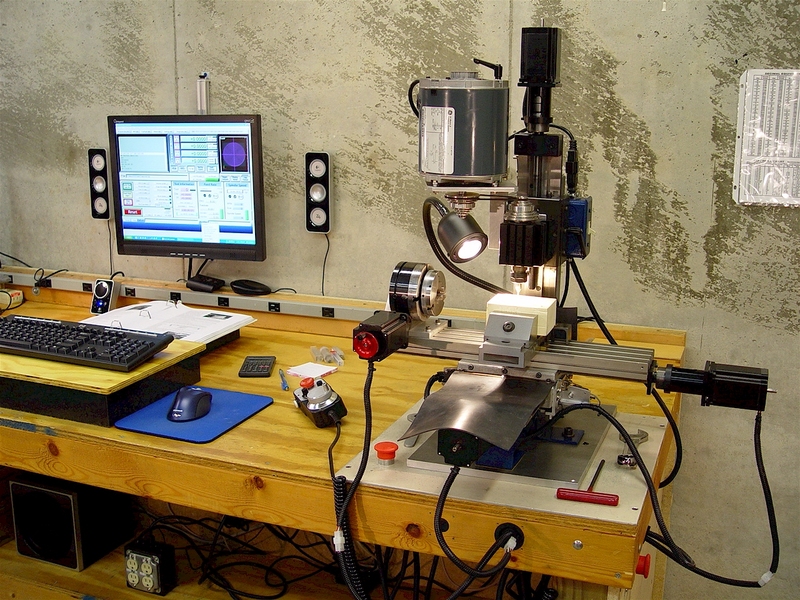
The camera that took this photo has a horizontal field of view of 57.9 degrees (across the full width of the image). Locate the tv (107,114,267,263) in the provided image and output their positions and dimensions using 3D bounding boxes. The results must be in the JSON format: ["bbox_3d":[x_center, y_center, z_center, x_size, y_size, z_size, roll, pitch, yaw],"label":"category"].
[{"bbox_3d":[-0.753,-0.420,2.617,0.704,0.452,0.048,2,12,11],"label":"tv"}]

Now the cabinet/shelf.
[{"bbox_3d":[-0.219,0.514,2.139,1.851,0.898,0.936,4,10,21],"label":"cabinet/shelf"}]

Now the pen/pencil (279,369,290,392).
[{"bbox_3d":[-0.346,0.234,2.135,0.019,0.015,0.115,-14,21,-12],"label":"pen/pencil"}]

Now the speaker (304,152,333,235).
[{"bbox_3d":[-0.299,-0.382,2.610,0.116,0.295,0.033,6,12,23],"label":"speaker"}]
